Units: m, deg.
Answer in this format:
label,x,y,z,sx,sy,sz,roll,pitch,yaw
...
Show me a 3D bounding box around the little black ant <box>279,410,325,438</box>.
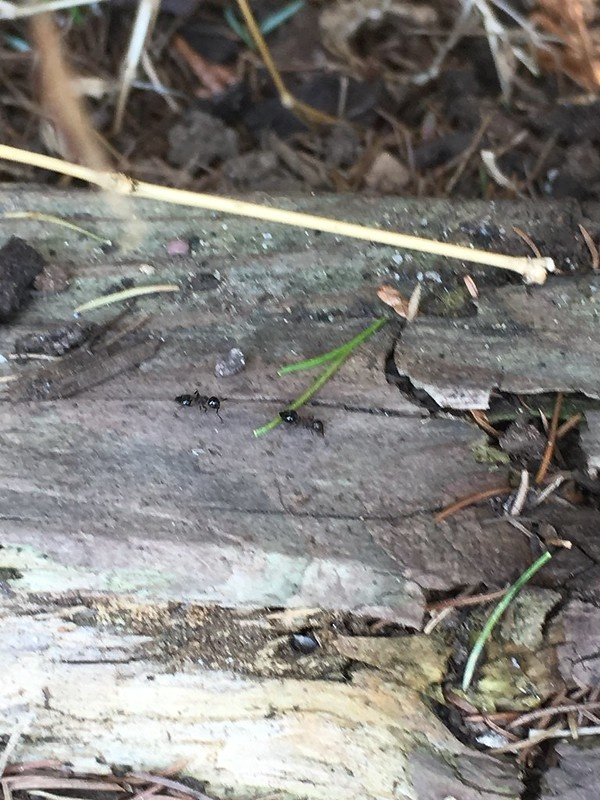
label,x,y,z,sx,sy,sz,roll,pitch,yaw
little black ant,0.019,0.088,3.256,0.236,0.112,0.062,11,88,-28
